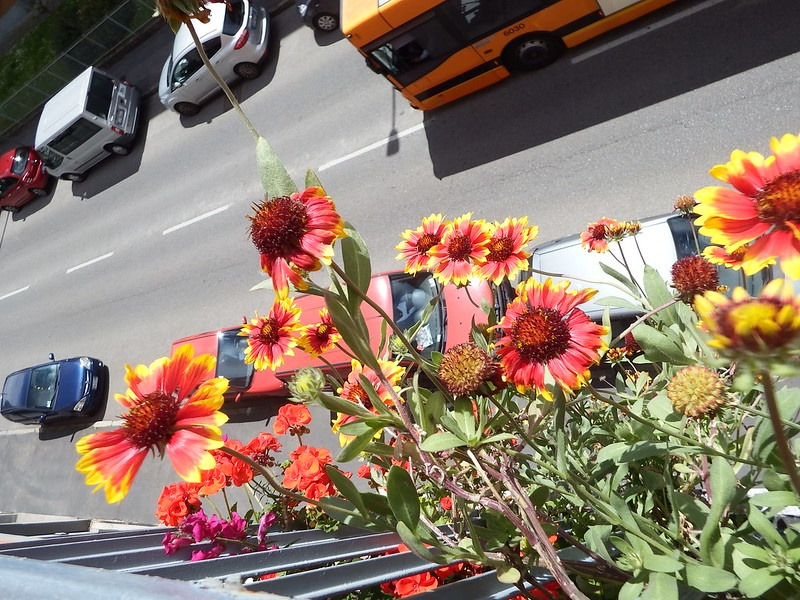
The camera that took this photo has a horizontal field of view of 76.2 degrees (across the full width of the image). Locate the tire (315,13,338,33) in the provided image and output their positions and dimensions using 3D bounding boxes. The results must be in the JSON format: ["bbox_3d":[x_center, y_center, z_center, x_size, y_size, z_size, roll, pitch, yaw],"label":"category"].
[{"bbox_3d":[-1.321,-4.988,9.164,0.272,0.093,0.280,5,-34,0],"label":"tire"}]

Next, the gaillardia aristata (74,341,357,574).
[{"bbox_3d":[-0.545,0.493,1.534,0.427,0.675,0.310,-58,-13,-29],"label":"gaillardia aristata"}]

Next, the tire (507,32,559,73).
[{"bbox_3d":[1.718,-3.201,6.620,0.578,0.232,0.595,-18,-26,25],"label":"tire"}]
